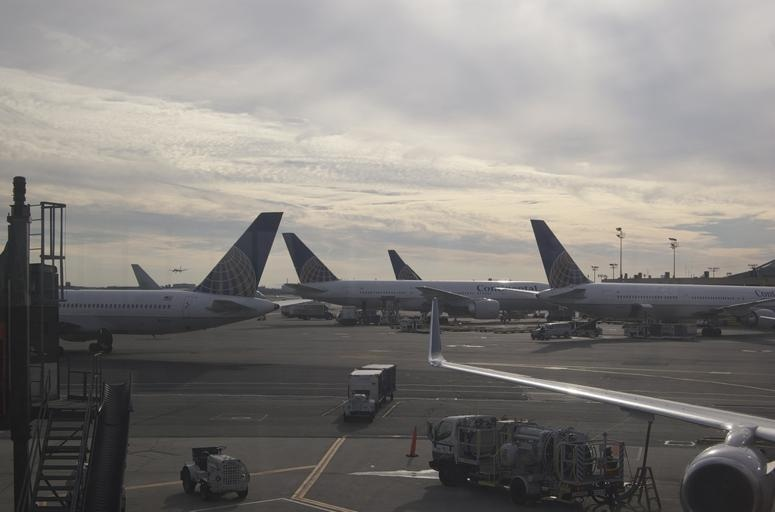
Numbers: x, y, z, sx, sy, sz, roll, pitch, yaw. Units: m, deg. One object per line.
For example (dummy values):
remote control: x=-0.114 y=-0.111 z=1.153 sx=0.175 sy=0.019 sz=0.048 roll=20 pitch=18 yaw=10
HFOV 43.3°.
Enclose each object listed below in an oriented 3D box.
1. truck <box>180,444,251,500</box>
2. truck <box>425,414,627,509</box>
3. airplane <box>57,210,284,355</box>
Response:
truck: x=-8.117 y=10.323 z=46.373 sx=2.913 sy=2.051 sz=1.656 roll=5 pitch=10 yaw=35
truck: x=6.386 y=9.605 z=45.434 sx=8.318 sy=3.577 sz=1.908 roll=3 pitch=10 yaw=24
airplane: x=-16.205 y=2.321 z=75.003 sx=15.421 sy=10.225 sz=4.724 roll=-1 pitch=9 yaw=-5
